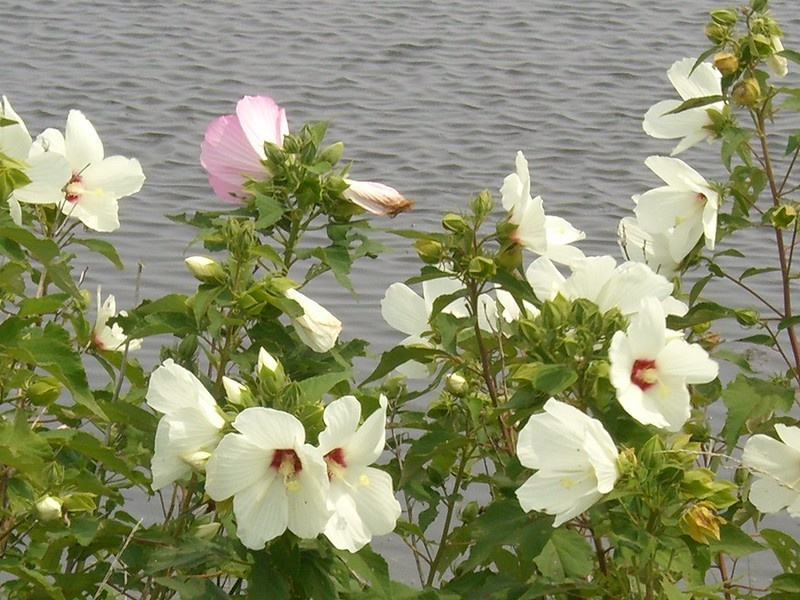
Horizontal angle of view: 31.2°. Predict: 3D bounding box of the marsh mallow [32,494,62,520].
[{"bbox_3d":[-1.041,0.611,4.226,0.063,0.059,0.075,-52,24,-16],"label":"marsh mallow"}]
